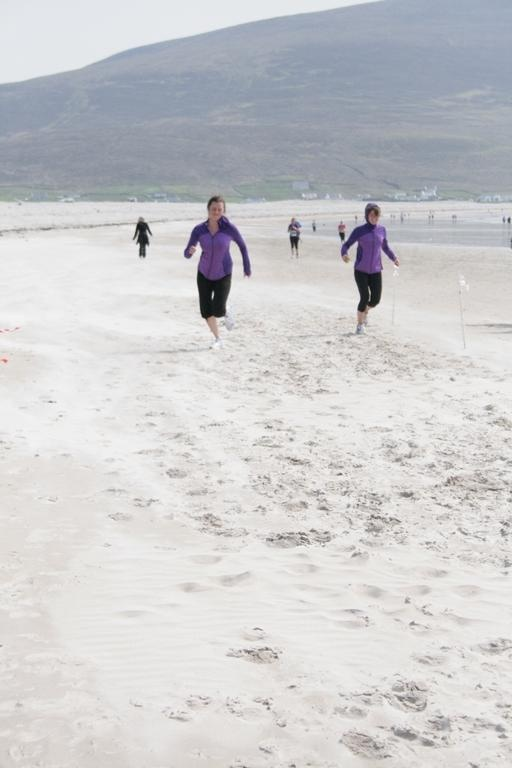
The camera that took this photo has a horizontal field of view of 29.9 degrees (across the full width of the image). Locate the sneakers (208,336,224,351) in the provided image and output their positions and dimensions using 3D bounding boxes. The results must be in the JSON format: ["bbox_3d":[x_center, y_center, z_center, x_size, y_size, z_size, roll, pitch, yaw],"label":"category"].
[{"bbox_3d":[-0.461,-0.457,10.946,0.189,0.204,0.497,0,4,6],"label":"sneakers"}]
